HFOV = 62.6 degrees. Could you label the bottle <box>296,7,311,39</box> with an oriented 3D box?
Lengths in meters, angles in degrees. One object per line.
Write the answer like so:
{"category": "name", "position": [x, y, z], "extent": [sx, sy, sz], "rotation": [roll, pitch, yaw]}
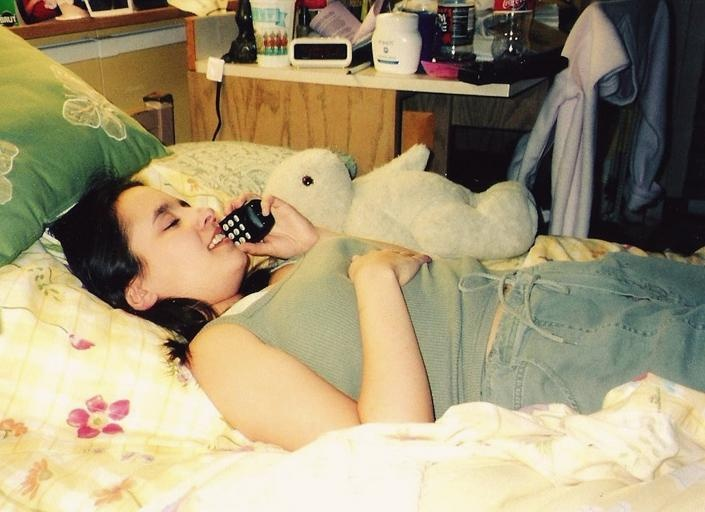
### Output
{"category": "bottle", "position": [-0.177, -0.837, 2.064], "extent": [0.055, 0.106, 0.056], "rotation": [1, 21, 0]}

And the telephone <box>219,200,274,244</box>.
{"category": "telephone", "position": [-0.262, -0.081, 1.445], "extent": [0.134, 0.079, 0.031], "rotation": [-43, 8, -34]}

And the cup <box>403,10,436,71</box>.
{"category": "cup", "position": [0.236, -0.714, 1.870], "extent": [0.062, 0.148, 0.086], "rotation": [3, 21, 5]}

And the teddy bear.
{"category": "teddy bear", "position": [0.146, -0.142, 1.591], "extent": [0.602, 0.233, 0.357], "rotation": [4, 9, 4]}
